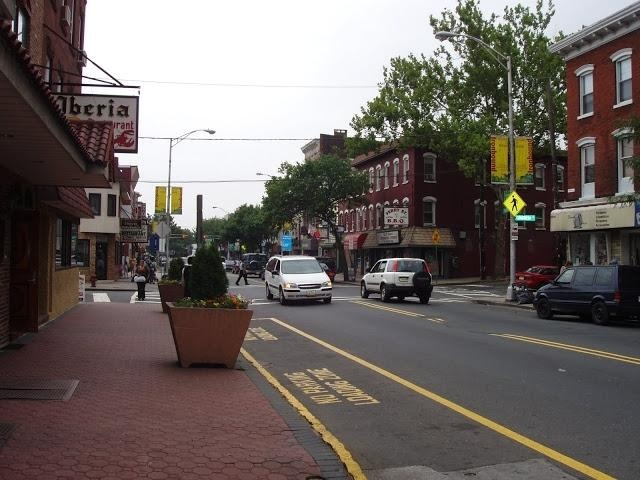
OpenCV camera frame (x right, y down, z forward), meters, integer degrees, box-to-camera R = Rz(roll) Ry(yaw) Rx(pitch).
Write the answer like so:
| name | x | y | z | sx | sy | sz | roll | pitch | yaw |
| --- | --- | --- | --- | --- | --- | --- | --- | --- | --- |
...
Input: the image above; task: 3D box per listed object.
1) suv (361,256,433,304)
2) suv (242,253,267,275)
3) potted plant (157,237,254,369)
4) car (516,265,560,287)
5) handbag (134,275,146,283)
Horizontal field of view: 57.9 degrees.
| name | x | y | z | sx | sy | sz | roll | pitch | yaw |
| --- | --- | --- | --- | --- | --- | --- | --- | --- | --- |
| suv | 3.468 | 1.815 | 27.012 | 1.526 | 1.517 | 3.237 | 2 | 0 | -15 |
| suv | -6.907 | 2.619 | 61.266 | 1.567 | 1.715 | 3.689 | 0 | 2 | -13 |
| potted plant | -2.110 | 1.257 | 11.112 | 1.442 | 2.314 | 1.192 | 1 | 0 | -8 |
| car | 12.069 | 2.012 | 31.849 | 1.838 | 0.726 | 0.892 | -5 | 1 | -29 |
| handbag | -8.300 | 1.839 | 26.652 | 0.430 | 0.321 | 0.920 | 1 | -1 | -23 |
